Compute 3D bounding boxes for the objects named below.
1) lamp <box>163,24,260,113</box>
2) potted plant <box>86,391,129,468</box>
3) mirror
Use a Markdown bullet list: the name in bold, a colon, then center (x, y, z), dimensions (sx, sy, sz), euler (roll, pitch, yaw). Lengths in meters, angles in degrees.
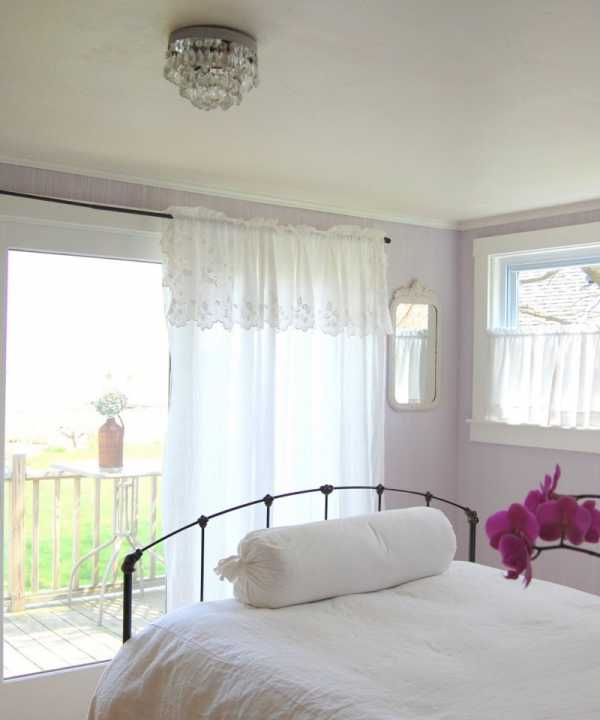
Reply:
- **lamp**: center (-0.228, -0.712, 1.614), dimensions (0.193, 0.156, 0.215), euler (10, 13, 22)
- **potted plant**: center (-0.865, 0.321, 2.979), dimensions (0.150, 0.367, 0.112), euler (0, -2, -20)
- **mirror**: center (0.674, -0.068, 3.843), dimensions (0.310, 0.869, 0.029), euler (0, 32, 10)
